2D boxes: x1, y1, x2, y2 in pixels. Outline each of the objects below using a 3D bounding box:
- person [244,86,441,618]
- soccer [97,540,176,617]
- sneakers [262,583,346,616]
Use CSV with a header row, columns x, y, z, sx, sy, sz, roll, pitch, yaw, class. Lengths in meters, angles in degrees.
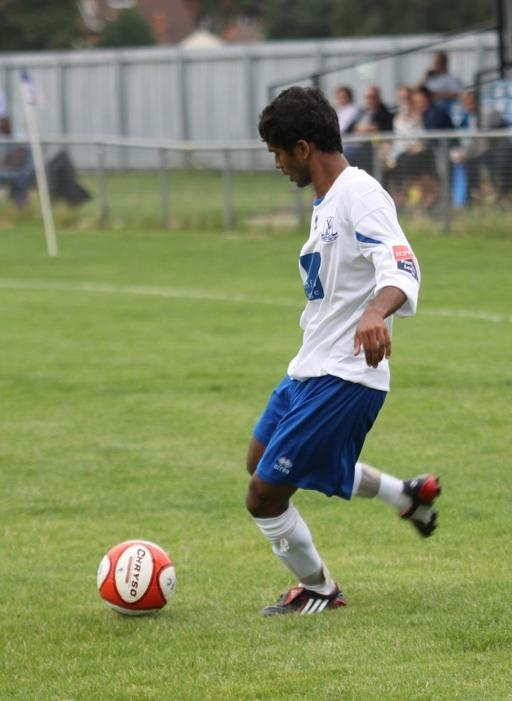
x,y,z,sx,sy,sz,roll,pitch,yaw,class
0.224,0.026,5.074,0.400,1.738,0.760,-11,14,-37,person
-0.399,0.758,5.262,0.239,0.235,0.241,1,29,7,soccer
0.171,0.852,5.334,0.290,0.127,0.109,-1,-30,-4,sneakers
